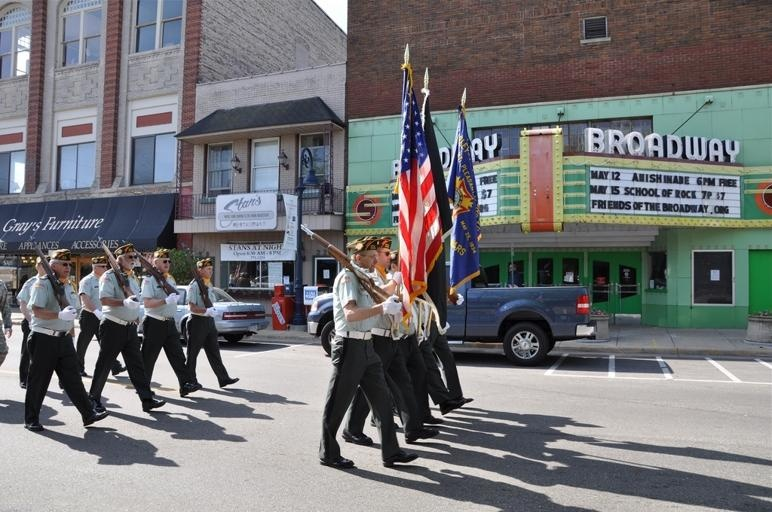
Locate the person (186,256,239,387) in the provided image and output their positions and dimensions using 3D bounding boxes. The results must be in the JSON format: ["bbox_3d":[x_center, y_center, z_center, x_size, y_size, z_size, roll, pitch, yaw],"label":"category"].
[{"bbox_3d":[-4.229,1.529,18.108,1.391,2.888,1.008,0,0,26],"label":"person"}]

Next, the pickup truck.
[{"bbox_3d":[3.051,1.540,21.638,6.802,2.520,2.947,1,-3,9],"label":"pickup truck"}]

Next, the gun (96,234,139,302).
[{"bbox_3d":[-6.068,0.355,17.161,0.928,2.169,0.925,-1,-5,5],"label":"gun"}]
